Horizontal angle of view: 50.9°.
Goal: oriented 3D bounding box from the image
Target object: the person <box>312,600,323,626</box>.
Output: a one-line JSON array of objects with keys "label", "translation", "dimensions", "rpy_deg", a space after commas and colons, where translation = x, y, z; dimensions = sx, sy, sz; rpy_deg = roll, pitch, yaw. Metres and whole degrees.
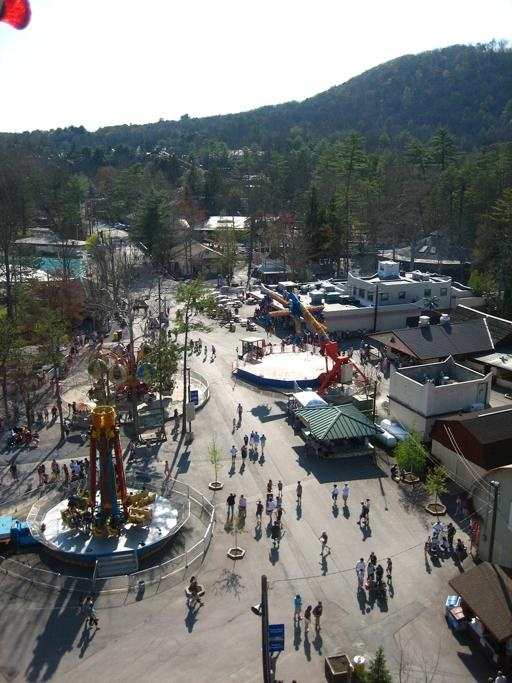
[{"label": "person", "translation": [2.401, 10.537, 21.093], "dimensions": [0.394, 1.188, 0.941], "rpy_deg": [1, 13, 7]}]

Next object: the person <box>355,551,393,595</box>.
[{"label": "person", "translation": [5.177, 10.240, 23.658], "dimensions": [1.021, 1.009, 1.769], "rpy_deg": [1, 13, 3]}]

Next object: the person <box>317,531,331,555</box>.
[{"label": "person", "translation": [3.325, 9.670, 26.219], "dimensions": [0.527, 0.843, 1.643], "rpy_deg": [1, 13, 7]}]

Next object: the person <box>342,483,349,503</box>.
[{"label": "person", "translation": [5.049, 8.612, 30.411], "dimensions": [0.312, 1.033, 0.829], "rpy_deg": [1, 13, 7]}]

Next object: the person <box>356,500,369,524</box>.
[{"label": "person", "translation": [5.715, 9.252, 28.838], "dimensions": [0.566, 1.341, 0.839], "rpy_deg": [7, 26, -5]}]
